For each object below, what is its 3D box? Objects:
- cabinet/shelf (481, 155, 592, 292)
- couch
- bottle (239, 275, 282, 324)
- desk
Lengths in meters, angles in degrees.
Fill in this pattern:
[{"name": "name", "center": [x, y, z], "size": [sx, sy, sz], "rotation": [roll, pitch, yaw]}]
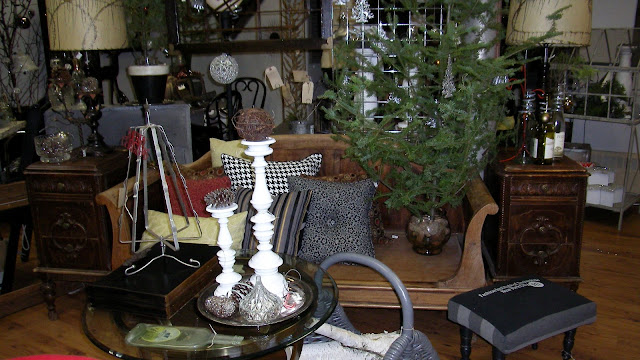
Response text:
[{"name": "cabinet/shelf", "center": [1.757, 0.379, 3.838], "size": [0.715, 1.015, 0.220], "rotation": [0, 12, 1]}, {"name": "couch", "center": [-0.172, 0.412, 4.079], "size": [3.257, 1.302, 1.044], "rotation": [1, 12, 8]}, {"name": "bottle", "center": [-0.357, 0.741, 3.010], "size": [0.292, 0.247, 0.269], "rotation": [-1, 8, 2]}, {"name": "desk", "center": [-1.921, -0.555, 5.495], "size": [2.053, 0.647, 2.156], "rotation": [-8, 8, -41]}]
